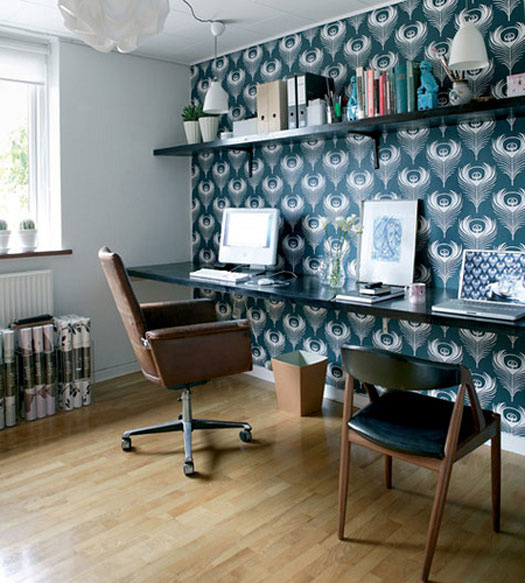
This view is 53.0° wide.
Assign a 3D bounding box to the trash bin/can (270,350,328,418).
[{"bbox_3d":[0.216,0.547,3.015,0.312,0.311,0.175,0,10,1],"label":"trash bin/can"}]

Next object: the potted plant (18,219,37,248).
[{"bbox_3d":[-1.422,-0.347,3.206,0.096,0.190,0.051,-7,12,-33],"label":"potted plant"}]

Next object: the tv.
[{"bbox_3d":[-0.052,-0.349,3.395,0.453,0.367,0.159,7,4,37],"label":"tv"}]

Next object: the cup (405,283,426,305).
[{"bbox_3d":[0.680,0.007,2.371,0.099,0.082,0.092,0,6,0],"label":"cup"}]

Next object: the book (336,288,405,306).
[{"bbox_3d":[0.535,0.009,2.456,0.402,0.056,0.226,-6,10,-34],"label":"book"}]

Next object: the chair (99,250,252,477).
[{"bbox_3d":[-0.399,0.307,2.559,0.712,0.898,0.676,-6,10,-41],"label":"chair"}]

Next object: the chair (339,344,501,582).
[{"bbox_3d":[0.515,0.508,1.794,0.422,0.728,0.490,9,13,44],"label":"chair"}]

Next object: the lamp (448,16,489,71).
[{"bbox_3d":[0.815,-1.001,2.115,0.155,0.178,0.155,-8,12,-39],"label":"lamp"}]
